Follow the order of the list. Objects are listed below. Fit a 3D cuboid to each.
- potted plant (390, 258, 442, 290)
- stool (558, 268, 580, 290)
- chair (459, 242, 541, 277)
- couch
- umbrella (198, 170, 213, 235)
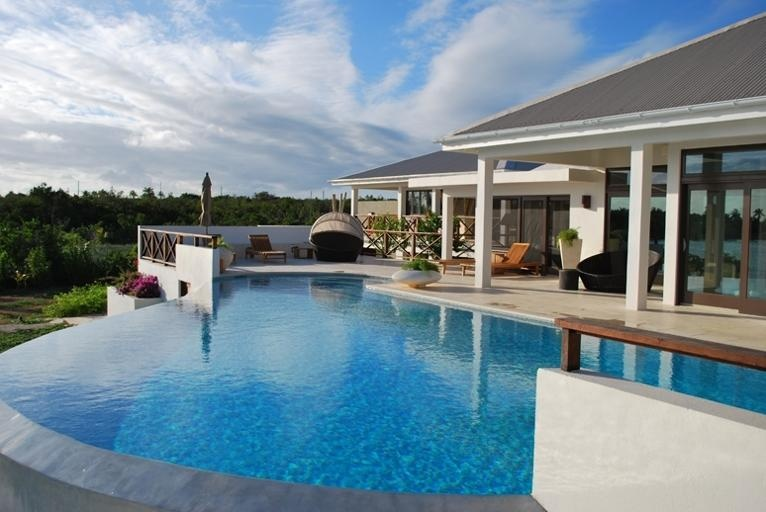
[{"bbox_3d":[1.034,0.492,14.327,1.054,0.530,0.960,-1,3,-25],"label":"potted plant"},{"bbox_3d":[5.436,0.668,14.317,0.621,0.564,0.534,0,4,7],"label":"stool"},{"bbox_3d":[4.561,0.076,17.694,2.583,0.941,1.368,0,1,-20],"label":"chair"},{"bbox_3d":[6.425,0.426,14.263,1.470,0.640,1.614,5,23,44],"label":"couch"},{"bbox_3d":[-6.978,-2.208,19.229,0.356,2.275,0.644,-1,3,-25],"label":"umbrella"}]
